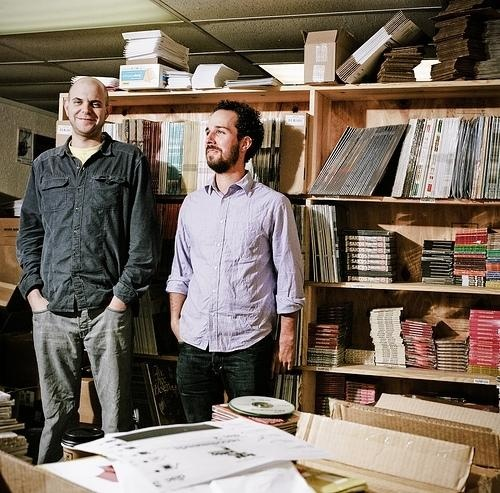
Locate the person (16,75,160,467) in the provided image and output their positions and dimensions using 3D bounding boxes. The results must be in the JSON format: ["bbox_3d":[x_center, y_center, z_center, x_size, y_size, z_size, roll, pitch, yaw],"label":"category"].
[{"bbox_3d":[-0.745,0.084,2.239,0.574,1.820,0.540,4,9,-11],"label":"person"}]

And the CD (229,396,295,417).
[{"bbox_3d":[0.026,0.346,1.128,0.121,0.046,0.117,1,2,-20],"label":"CD"}]
